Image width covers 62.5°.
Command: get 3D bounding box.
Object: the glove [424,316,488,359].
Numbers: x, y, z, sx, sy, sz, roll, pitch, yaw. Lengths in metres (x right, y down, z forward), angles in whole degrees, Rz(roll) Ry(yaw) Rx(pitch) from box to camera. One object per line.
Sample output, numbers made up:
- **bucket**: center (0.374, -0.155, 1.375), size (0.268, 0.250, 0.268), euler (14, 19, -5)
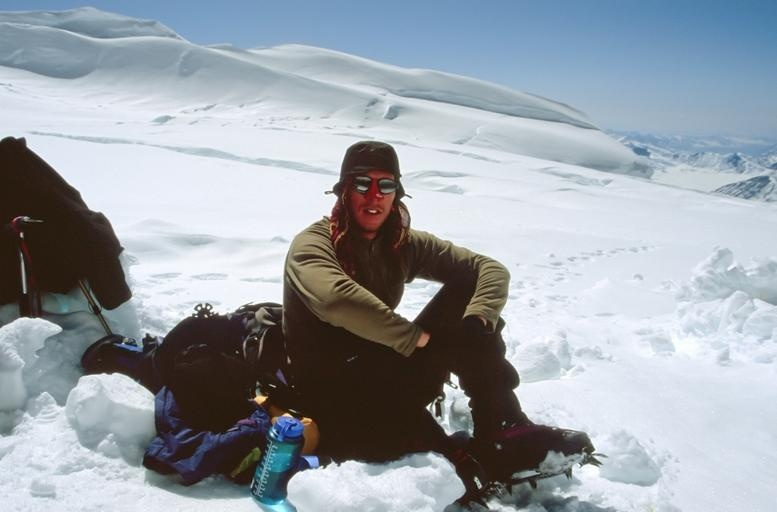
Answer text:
- **glove**: center (0.528, 0.630, 5.262), size (0.583, 0.337, 0.135), euler (7, 19, -12)
